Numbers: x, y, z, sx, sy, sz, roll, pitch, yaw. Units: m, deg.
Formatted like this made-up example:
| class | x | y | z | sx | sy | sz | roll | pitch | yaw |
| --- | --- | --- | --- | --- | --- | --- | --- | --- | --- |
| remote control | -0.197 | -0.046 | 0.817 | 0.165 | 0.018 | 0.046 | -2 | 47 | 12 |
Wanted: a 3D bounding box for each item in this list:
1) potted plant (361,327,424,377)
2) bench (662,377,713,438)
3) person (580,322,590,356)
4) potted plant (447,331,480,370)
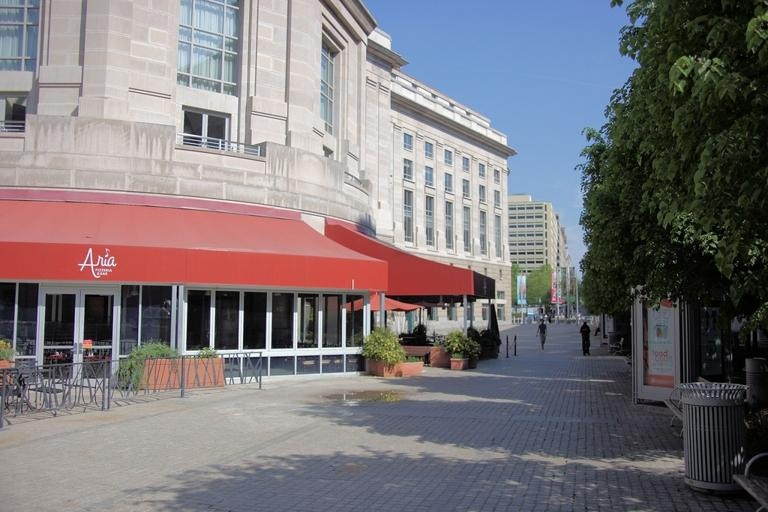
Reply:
| class | x | y | z | sx | sy | sz | roll | pitch | yaw |
| --- | --- | --- | --- | --- | --- | --- | --- | --- | --- |
| potted plant | 0.202 | 3.706 | 27.589 | 1.897 | 1.467 | 1.778 | 4 | -5 | -44 |
| bench | 6.499 | 3.242 | 15.191 | 0.557 | 1.033 | 1.604 | -1 | -5 | 14 |
| person | 11.068 | 4.465 | 38.929 | 0.426 | 1.882 | 1.172 | 1 | 1 | 16 |
| potted plant | 3.379 | 4.062 | 31.276 | 1.454 | 1.626 | 1.090 | 12 | -10 | -41 |
